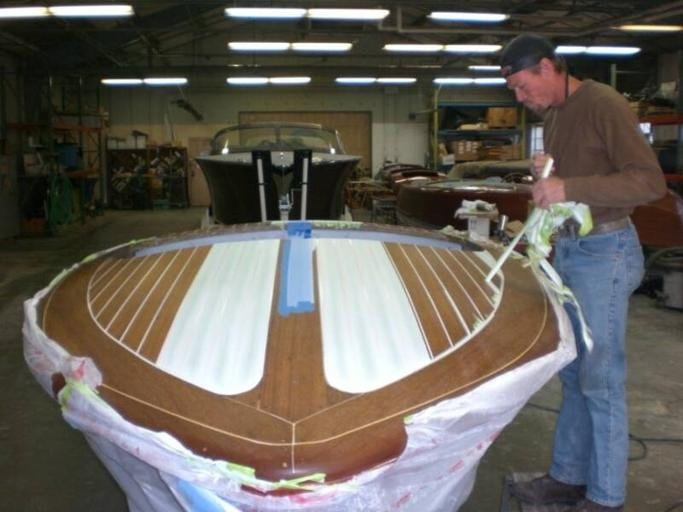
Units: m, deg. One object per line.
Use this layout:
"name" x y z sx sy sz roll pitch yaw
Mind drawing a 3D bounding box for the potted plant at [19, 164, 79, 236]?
"potted plant" -4.341 -0.739 7.776 0.733 1.087 0.390 -2 -8 21

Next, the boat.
"boat" -0.564 -0.750 4.560 1.341 0.923 1.542 -1 11 -8

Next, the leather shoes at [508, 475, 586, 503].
"leather shoes" 0.839 0.928 2.063 0.223 0.097 0.113 1 4 4

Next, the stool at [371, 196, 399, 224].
"stool" 0.591 -0.622 6.926 0.371 0.497 0.520 -1 8 -6

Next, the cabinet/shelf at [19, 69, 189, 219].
"cabinet/shelf" -4.898 -2.342 10.641 3.236 3.272 1.751 -1 -4 -14
